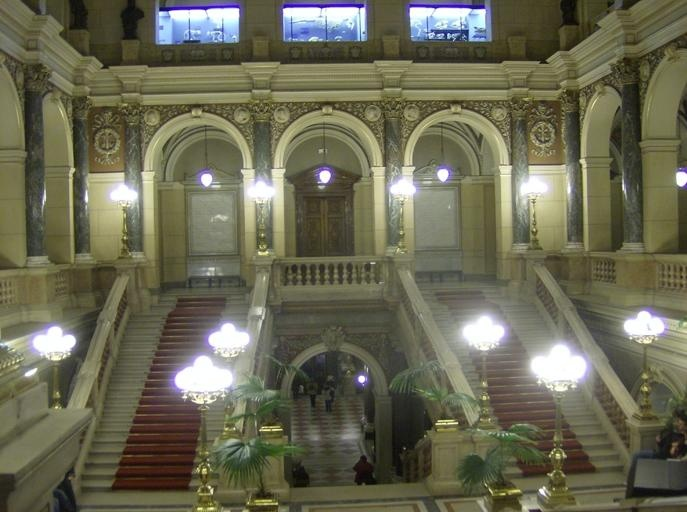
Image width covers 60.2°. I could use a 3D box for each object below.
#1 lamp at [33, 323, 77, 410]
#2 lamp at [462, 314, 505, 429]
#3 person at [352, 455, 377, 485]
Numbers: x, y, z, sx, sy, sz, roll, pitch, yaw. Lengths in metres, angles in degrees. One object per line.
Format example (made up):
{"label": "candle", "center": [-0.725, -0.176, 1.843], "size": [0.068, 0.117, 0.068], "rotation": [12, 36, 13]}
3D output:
{"label": "lamp", "center": [-5.302, 2.084, 10.905], "size": [0.715, 1.527, 0.715], "rotation": [-2, -7, -17]}
{"label": "lamp", "center": [3.074, 2.420, 12.841], "size": [0.810, 2.310, 3.121], "rotation": [-2, -5, 14]}
{"label": "person", "center": [0.593, 5.687, 15.810], "size": [0.556, 0.805, 0.538], "rotation": [2, -6, -32]}
